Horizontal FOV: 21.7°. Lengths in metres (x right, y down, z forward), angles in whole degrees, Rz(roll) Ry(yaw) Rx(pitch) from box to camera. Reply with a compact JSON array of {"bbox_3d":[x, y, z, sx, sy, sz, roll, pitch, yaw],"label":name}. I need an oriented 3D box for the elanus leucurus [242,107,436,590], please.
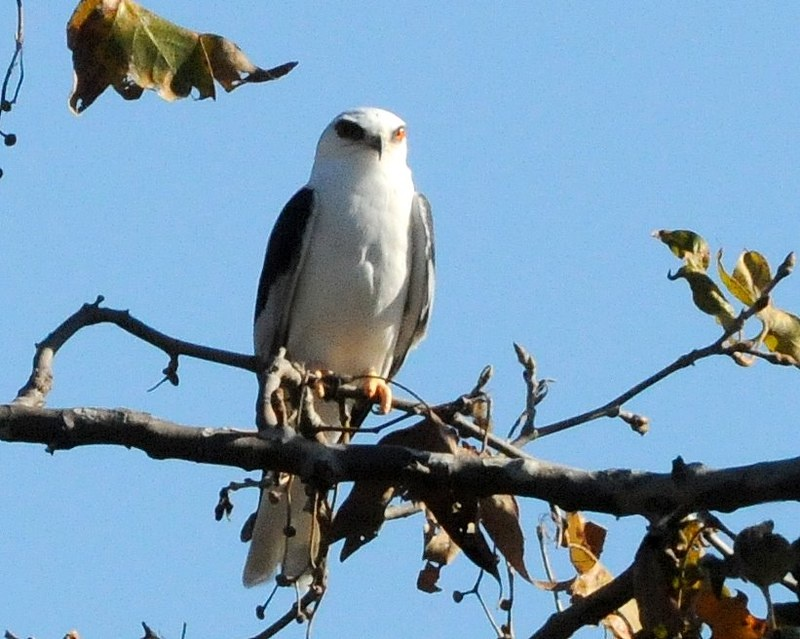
[{"bbox_3d":[-0.314,0.223,9.557,0.595,1.279,2.298,6,-56,-9],"label":"elanus leucurus"}]
